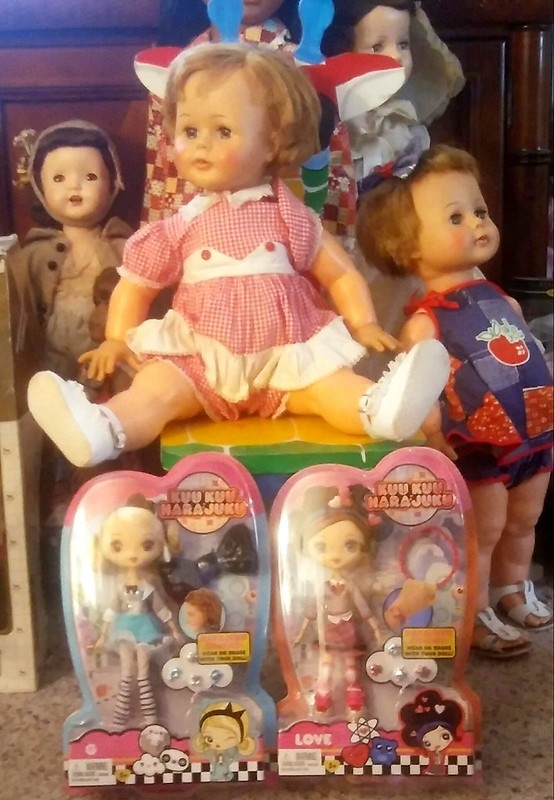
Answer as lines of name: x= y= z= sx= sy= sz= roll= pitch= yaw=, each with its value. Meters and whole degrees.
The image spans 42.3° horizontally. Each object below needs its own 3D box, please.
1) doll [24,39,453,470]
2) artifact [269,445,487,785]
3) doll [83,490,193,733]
doll: x=-0.071 y=-0.195 z=0.938 sx=0.547 sy=0.486 sz=0.438 roll=-5 pitch=24 yaw=-6
artifact: x=0.117 y=0.264 z=0.875 sx=0.247 sy=0.356 sz=0.206 roll=-3 pitch=29 yaw=2
doll: x=-0.164 y=0.253 z=0.855 sx=0.114 sy=0.245 sz=0.136 roll=-7 pitch=29 yaw=-5
